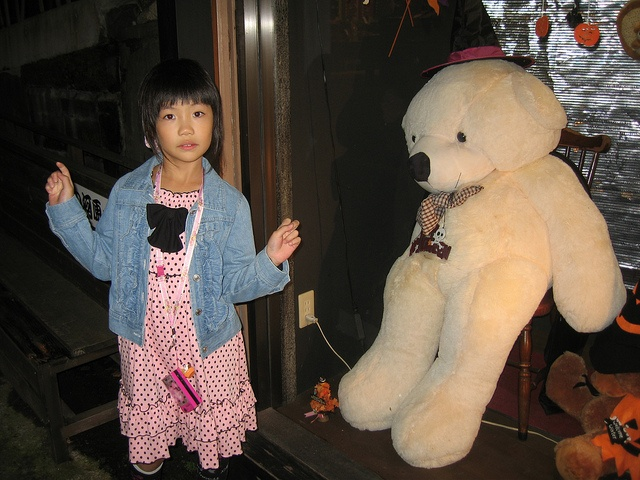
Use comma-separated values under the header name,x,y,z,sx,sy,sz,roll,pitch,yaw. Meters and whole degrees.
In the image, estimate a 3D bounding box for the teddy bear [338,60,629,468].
name,x,y,z,sx,sy,sz,roll,pitch,yaw
teddy bear,0.647,0.078,2.352,1.119,1.627,0.759,-7,24,-15

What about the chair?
name,x,y,z,sx,sy,sz,roll,pitch,yaw
chair,1.132,0.214,2.554,0.505,1.360,0.566,17,26,29
